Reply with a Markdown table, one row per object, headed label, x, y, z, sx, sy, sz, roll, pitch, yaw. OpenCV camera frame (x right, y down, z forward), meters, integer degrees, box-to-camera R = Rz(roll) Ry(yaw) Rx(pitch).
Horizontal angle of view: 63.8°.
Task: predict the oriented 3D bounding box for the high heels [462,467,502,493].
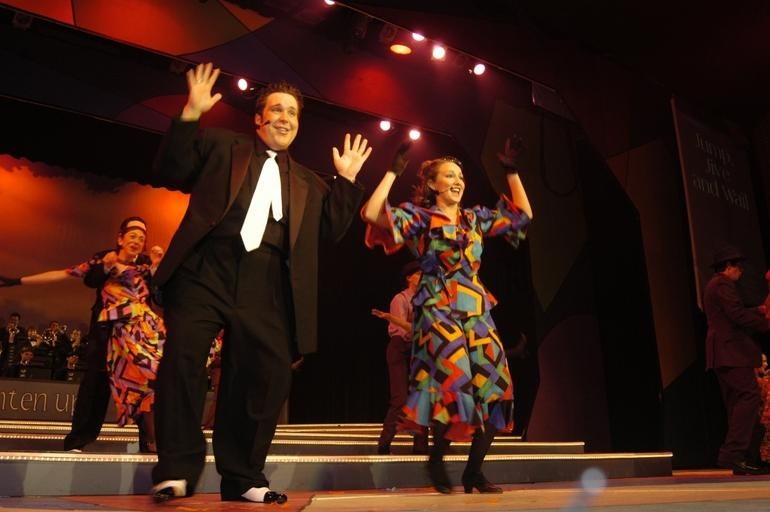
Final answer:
| label | x | y | z | sx | sy | sz | roll | pitch | yaw |
| --- | --- | --- | --- | --- | --- | --- | --- | --- | --- |
| high heels | 0.700 | 1.629 | 4.454 | 0.287 | 0.153 | 0.222 | 2 | -17 | 8 |

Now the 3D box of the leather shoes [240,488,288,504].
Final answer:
| label | x | y | z | sx | sy | sz | roll | pitch | yaw |
| --- | --- | --- | --- | --- | --- | --- | --- | --- | --- |
| leather shoes | -0.721 | 1.430 | 3.707 | 0.286 | 0.090 | 0.091 | 2 | -17 | 8 |

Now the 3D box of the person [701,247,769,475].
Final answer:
| label | x | y | z | sx | sy | sz | roll | pitch | yaw |
| --- | --- | --- | --- | --- | --- | --- | --- | --- | --- |
| person | 3.843 | 1.074 | 6.751 | 0.617 | 2.467 | 0.680 | -4 | -19 | 27 |

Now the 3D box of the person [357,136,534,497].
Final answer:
| label | x | y | z | sx | sy | sz | roll | pitch | yaw |
| --- | --- | --- | --- | --- | --- | --- | --- | --- | --- |
| person | 0.456 | 0.364 | 4.667 | 1.246 | 2.670 | 0.590 | 10 | -18 | -18 |

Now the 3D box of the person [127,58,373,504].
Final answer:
| label | x | y | z | sx | sy | sz | roll | pitch | yaw |
| --- | --- | --- | --- | --- | --- | --- | --- | --- | --- |
| person | -0.904 | 0.144 | 3.877 | 1.210 | 2.626 | 0.558 | 12 | -18 | -22 |

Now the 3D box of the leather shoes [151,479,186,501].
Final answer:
| label | x | y | z | sx | sy | sz | roll | pitch | yaw |
| --- | --- | --- | --- | --- | --- | --- | --- | --- | --- |
| leather shoes | -1.246 | 1.356 | 3.592 | 0.208 | 0.092 | 0.093 | 3 | -12 | -1 |
